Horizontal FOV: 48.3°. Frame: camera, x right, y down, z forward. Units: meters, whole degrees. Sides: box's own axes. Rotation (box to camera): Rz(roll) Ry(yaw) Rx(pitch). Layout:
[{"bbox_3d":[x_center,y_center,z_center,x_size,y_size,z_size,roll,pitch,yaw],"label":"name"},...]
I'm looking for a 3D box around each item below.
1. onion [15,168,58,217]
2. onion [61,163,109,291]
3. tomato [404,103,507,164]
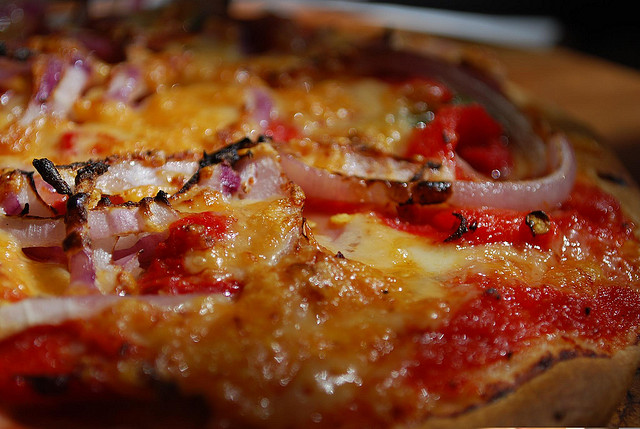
[{"bbox_3d":[-0.852,-0.052,2.131,0.143,0.029,0.099,47,52,0],"label":"onion"},{"bbox_3d":[-0.689,0.035,2.092,0.103,0.082,0.360,12,57,-29],"label":"onion"},{"bbox_3d":[0.476,-0.298,2.527,0.266,0.090,0.270,-10,20,-3],"label":"tomato"}]
